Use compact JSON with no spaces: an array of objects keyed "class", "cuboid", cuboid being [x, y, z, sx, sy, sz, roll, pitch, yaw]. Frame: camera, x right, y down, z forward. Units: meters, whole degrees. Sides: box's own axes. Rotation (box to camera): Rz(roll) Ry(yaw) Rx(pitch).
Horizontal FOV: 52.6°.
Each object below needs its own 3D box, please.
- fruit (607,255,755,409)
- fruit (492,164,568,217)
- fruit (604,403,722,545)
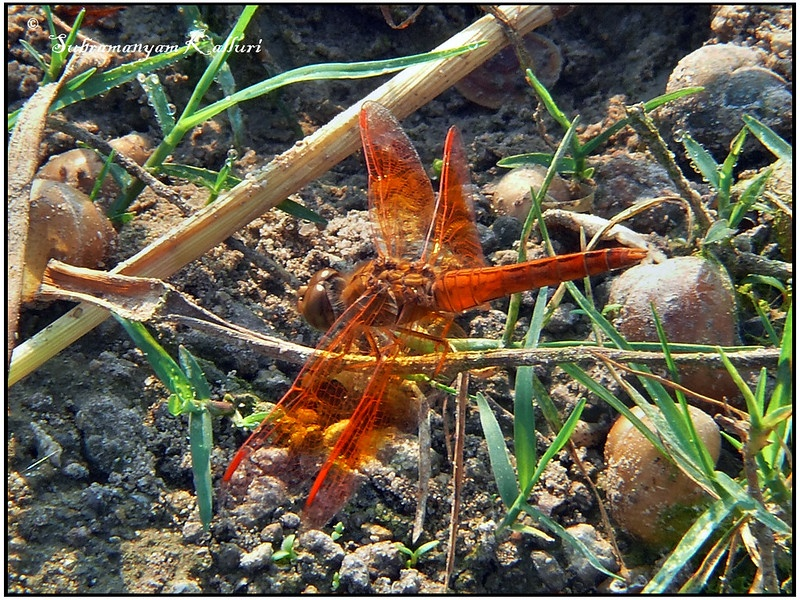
[{"class":"fruit","cuboid":[1.002,0.030,3.181,0.405,0.136,0.560,3,35,34]},{"class":"fruit","cuboid":[0.527,-0.489,3.444,0.243,0.142,0.261,-11,22,5]},{"class":"fruit","cuboid":[0.995,0.622,3.133,0.393,0.339,0.510,29,86,16]}]
